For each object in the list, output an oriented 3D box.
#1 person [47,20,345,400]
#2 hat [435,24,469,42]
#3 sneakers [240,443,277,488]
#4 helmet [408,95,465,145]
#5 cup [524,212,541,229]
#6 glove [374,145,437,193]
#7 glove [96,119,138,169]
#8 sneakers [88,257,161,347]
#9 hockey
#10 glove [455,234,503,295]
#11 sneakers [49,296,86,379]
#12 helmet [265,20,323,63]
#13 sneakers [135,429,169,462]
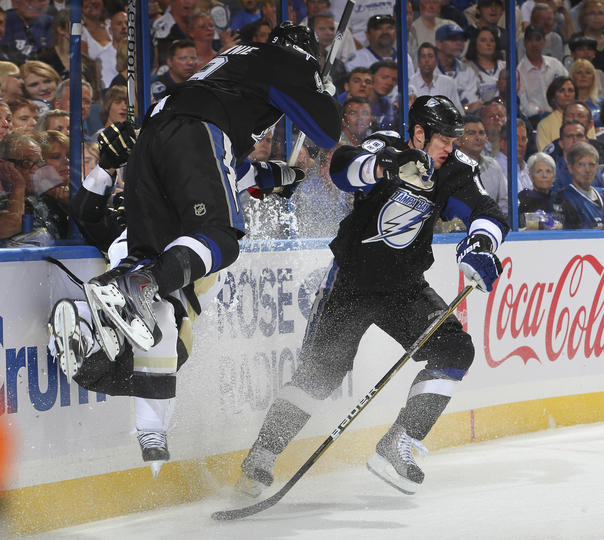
[{"bbox_3d":[-0.358,-0.329,4.417,0.649,1.741,1.080,-20,-34,40],"label":"person"},{"bbox_3d":[0.892,-1.422,6.271,0.112,0.077,0.150,-9,11,-43],"label":"hat"},{"bbox_3d":[-0.217,0.950,5.052,0.144,0.140,0.225,20,56,2],"label":"sneakers"},{"bbox_3d":[0.642,-0.721,5.051,0.232,0.242,0.193,5,13,24],"label":"helmet"},{"bbox_3d":[1.444,-0.312,6.541,0.125,0.129,0.095,1,-4,-13],"label":"cup"},{"bbox_3d":[0.488,-0.504,4.742,0.251,0.195,0.098,26,55,13],"label":"glove"},{"bbox_3d":[-0.810,-0.553,4.596,0.162,0.216,0.105,54,29,1],"label":"glove"},{"bbox_3d":[-0.648,0.109,3.959,0.133,0.267,0.324,-30,28,-4],"label":"sneakers"},{"bbox_3d":[0.155,0.660,5.228,0.199,1.450,0.124,49,2,21],"label":"hockey"},{"bbox_3d":[0.837,-0.045,4.903,0.289,0.176,0.110,56,26,13],"label":"glove"},{"bbox_3d":[-0.974,0.269,4.245,0.127,0.361,0.156,1,-2,9],"label":"sneakers"},{"bbox_3d":[-0.034,-1.005,4.555,0.197,0.181,0.149,4,17,-31],"label":"helmet"},{"bbox_3d":[-0.595,0.706,4.173,0.109,0.120,0.107,-1,7,-13],"label":"sneakers"}]
